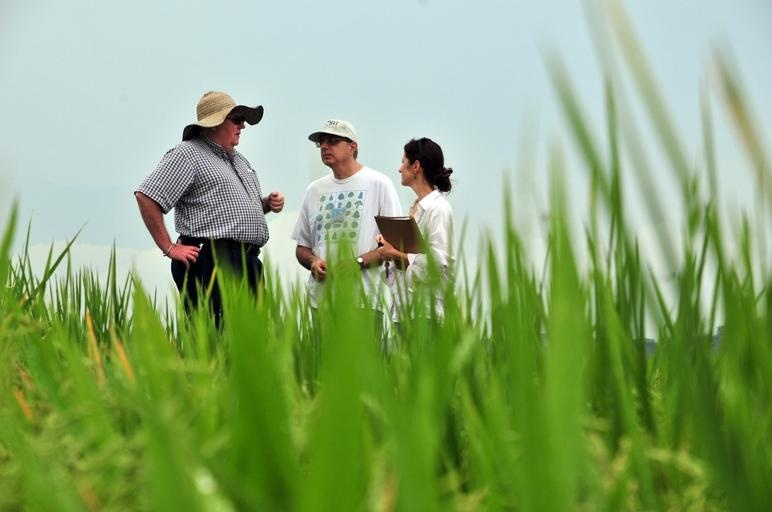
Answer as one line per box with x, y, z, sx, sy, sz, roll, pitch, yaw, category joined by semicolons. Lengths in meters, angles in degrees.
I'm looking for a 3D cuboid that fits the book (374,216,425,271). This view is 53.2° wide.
0.021;-0.026;1.244;0.083;0.109;0.010;6;-41;-4;book

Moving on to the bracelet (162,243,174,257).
-0.478;-0.010;1.701;0.006;0.024;0.022;39;-53;-21;bracelet
